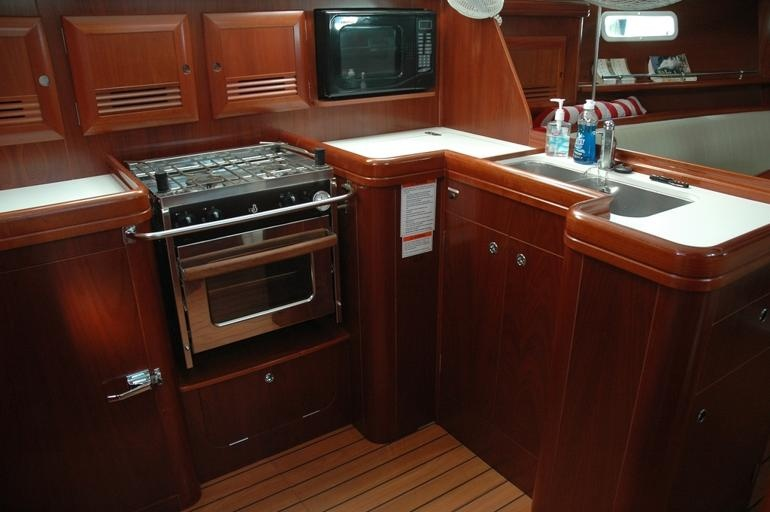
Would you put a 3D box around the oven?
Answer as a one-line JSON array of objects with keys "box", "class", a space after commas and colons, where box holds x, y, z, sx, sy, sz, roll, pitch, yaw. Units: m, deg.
[{"box": [-0.721, 0.060, 2.816, 0.819, 0.568, 0.584, -15, 29, -31], "class": "oven"}]

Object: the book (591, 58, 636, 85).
[{"box": [1.129, -0.907, 2.591, 0.177, 0.114, 0.045, 3, 26, 18], "class": "book"}]

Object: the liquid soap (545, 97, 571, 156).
[{"box": [0.893, -0.670, 2.726, 0.124, 0.277, 0.169, 3, 26, 18], "class": "liquid soap"}]

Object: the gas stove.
[{"box": [-0.759, -0.337, 2.618, 1.057, 0.320, 0.625, -19, 29, -27], "class": "gas stove"}]

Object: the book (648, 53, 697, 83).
[{"box": [1.359, -0.889, 2.500, 0.209, 0.118, 0.053, 8, 28, 26], "class": "book"}]
